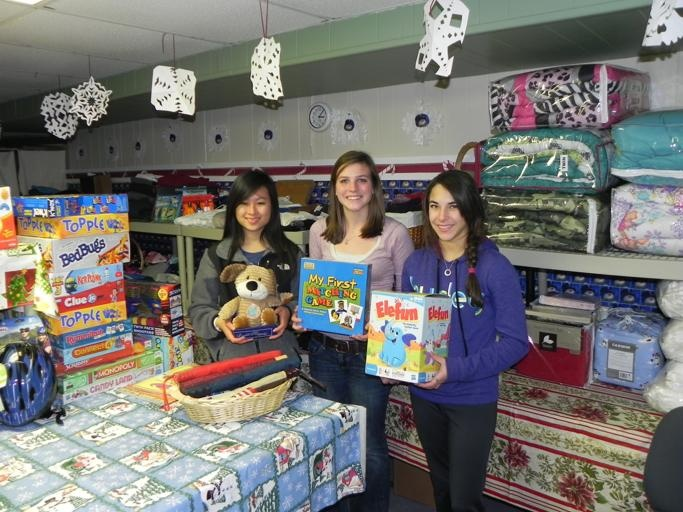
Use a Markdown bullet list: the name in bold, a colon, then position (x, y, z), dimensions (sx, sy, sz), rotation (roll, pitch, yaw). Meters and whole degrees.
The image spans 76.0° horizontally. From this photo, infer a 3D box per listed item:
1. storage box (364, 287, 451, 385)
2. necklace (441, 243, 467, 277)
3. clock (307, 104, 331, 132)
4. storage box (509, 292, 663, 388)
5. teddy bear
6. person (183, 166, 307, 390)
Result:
- **storage box**: position (0.269, 0.322, 1.731), dimensions (0.329, 0.479, 0.257), rotation (7, 5, 6)
- **necklace**: position (0.473, 0.016, 1.880), dimensions (0.089, 0.130, 0.045), rotation (2, -8, 20)
- **clock**: position (-0.214, -1.341, 4.194), dimensions (0.284, 0.258, 0.046), rotation (11, 15, 43)
- **storage box**: position (1.483, 0.313, 2.722), dimensions (0.757, 0.523, 0.567), rotation (5, 6, 35)
- **teddy bear**: position (-0.396, 0.194, 2.051), dimensions (0.334, 0.319, 0.205), rotation (-1, 11, -20)
- **person**: position (-0.457, 0.066, 2.247), dimensions (0.574, 0.934, 0.553), rotation (0, 19, -19)
